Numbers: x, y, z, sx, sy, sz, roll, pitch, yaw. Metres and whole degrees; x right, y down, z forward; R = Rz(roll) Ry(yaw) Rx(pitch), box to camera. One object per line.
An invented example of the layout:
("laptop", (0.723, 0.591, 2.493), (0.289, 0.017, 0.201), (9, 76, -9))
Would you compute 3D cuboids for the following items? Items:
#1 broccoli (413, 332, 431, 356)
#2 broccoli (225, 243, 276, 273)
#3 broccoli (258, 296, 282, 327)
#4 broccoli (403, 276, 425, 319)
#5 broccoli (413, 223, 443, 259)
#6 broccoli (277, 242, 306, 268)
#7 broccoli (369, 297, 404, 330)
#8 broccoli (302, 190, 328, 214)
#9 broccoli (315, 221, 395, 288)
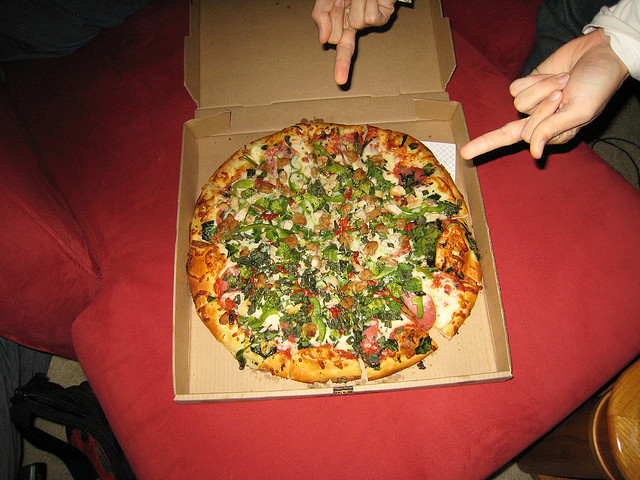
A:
("broccoli", (0.537, 0.547, 2.741), (0.084, 0.022, 0.089), (31, 86, 0))
("broccoli", (-0.335, 0.095, 2.772), (0.203, 0.044, 0.135), (18, 90, 12))
("broccoli", (-0.267, 0.368, 2.733), (0.127, 0.040, 0.096), (-31, 77, -5))
("broccoli", (0.489, 0.298, 2.704), (0.103, 0.054, 0.211), (0, 81, 1))
("broccoli", (0.554, 0.001, 2.707), (0.138, 0.053, 0.157), (3, 84, 1))
("broccoli", (-0.146, 0.077, 2.758), (0.117, 0.049, 0.121), (46, 63, 4))
("broccoli", (0.338, 0.361, 2.696), (0.144, 0.056, 0.155), (31, 57, 12))
("broccoli", (-0.020, -0.210, 2.890), (0.112, 0.048, 0.118), (-42, 83, 2))
("broccoli", (0.223, 0.078, 2.645), (0.264, 0.073, 0.288), (-24, 79, 3))
